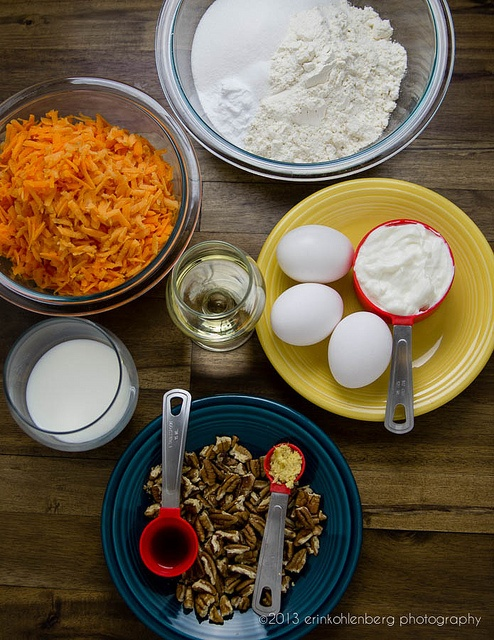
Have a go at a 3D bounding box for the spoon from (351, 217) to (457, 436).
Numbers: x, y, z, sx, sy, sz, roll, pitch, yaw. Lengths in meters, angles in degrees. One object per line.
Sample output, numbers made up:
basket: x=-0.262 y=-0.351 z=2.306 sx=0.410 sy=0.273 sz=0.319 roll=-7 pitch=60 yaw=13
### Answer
spoon: x=0.245 y=-0.003 z=0.932 sx=0.174 sy=0.075 sz=0.330 roll=3 pitch=84 yaw=3

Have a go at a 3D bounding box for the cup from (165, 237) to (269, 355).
cup: x=-0.049 y=-0.042 z=0.965 sx=0.143 sy=0.175 sz=0.143 roll=-1 pitch=70 yaw=3

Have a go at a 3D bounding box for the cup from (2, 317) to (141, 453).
cup: x=-0.270 y=0.110 z=1.125 sx=0.267 sy=0.226 sz=0.217 roll=0 pitch=87 yaw=-2

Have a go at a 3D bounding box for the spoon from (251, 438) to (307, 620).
spoon: x=0.047 y=0.326 z=0.993 sx=0.086 sy=0.013 sz=0.277 roll=5 pitch=72 yaw=11

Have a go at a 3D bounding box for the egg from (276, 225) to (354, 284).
egg: x=0.110 y=-0.109 z=1.032 sx=0.143 sy=0.099 sz=0.094 roll=-4 pitch=86 yaw=10

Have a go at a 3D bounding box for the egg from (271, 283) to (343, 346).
egg: x=0.094 y=-0.011 z=0.988 sx=0.104 sy=0.058 sz=0.102 roll=24 pitch=71 yaw=11

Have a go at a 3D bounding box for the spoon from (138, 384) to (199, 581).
spoon: x=-0.139 y=0.261 z=1.010 sx=0.108 sy=0.045 sz=0.266 roll=2 pitch=83 yaw=-3

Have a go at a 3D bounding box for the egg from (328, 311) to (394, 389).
egg: x=0.192 y=0.052 z=1.011 sx=0.117 sy=0.126 sz=0.121 roll=-1 pitch=102 yaw=27
